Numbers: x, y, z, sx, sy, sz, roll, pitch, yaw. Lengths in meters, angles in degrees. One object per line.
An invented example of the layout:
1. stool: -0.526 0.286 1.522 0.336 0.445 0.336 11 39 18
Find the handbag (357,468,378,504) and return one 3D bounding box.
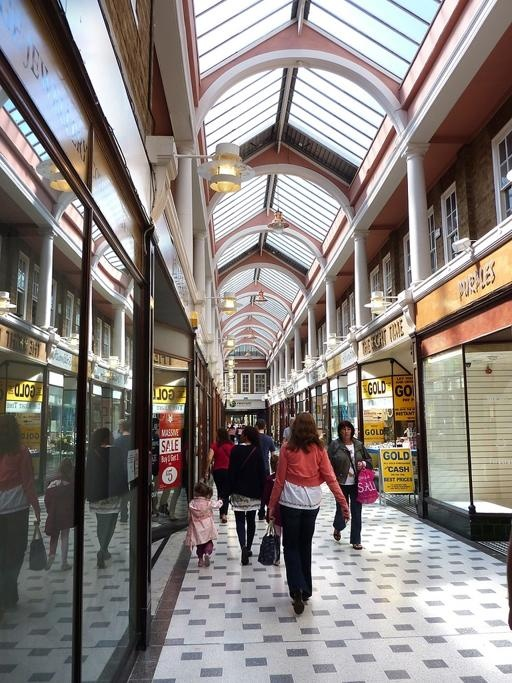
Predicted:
1. handbag: 1.549 2.016 5.709 0.263 0.518 0.466 -3 -12 15

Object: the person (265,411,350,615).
1. person: 0.446 1.521 3.746 0.665 1.694 0.392 0 -10 1

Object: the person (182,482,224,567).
1. person: -0.662 2.226 4.946 0.362 0.966 0.494 2 -11 -11

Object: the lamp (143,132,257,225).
1. lamp: -0.678 -1.911 4.947 1.088 1.089 0.791 0 -1 -5
